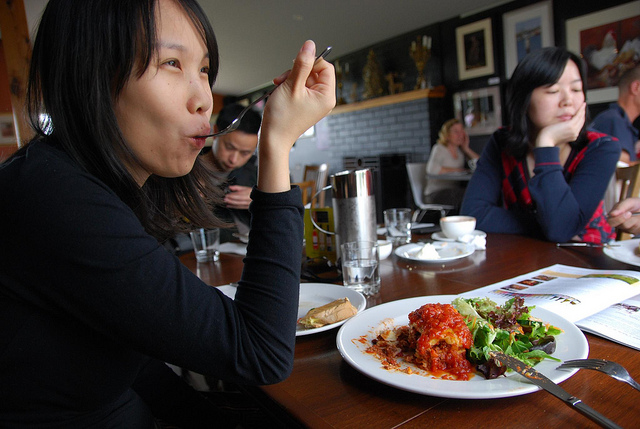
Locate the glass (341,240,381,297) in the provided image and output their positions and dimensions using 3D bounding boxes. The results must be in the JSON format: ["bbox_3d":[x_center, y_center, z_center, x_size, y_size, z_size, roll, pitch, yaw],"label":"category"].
[{"bbox_3d":[0.120,0.158,1.226,0.118,0.142,0.138,-3,-6,-9],"label":"glass"}]

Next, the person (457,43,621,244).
[{"bbox_3d":[0.923,-0.277,1.849,0.582,0.753,0.510,4,7,25],"label":"person"}]

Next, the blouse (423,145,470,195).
[{"bbox_3d":[1.375,-0.407,4.808,0.402,0.462,0.250,8,-2,-40],"label":"blouse"}]

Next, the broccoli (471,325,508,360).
[{"bbox_3d":[0.316,0.228,0.797,0.058,0.060,0.028,10,-4,4],"label":"broccoli"}]

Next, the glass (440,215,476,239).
[{"bbox_3d":[0.486,0.039,1.538,0.091,0.062,0.092,-2,1,-6],"label":"glass"}]

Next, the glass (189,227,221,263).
[{"bbox_3d":[-0.412,0.113,1.547,0.113,0.125,0.116,-3,-9,-22],"label":"glass"}]

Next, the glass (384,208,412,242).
[{"bbox_3d":[0.302,0.050,1.650,0.119,0.136,0.120,-5,-2,28],"label":"glass"}]

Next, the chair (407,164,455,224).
[{"bbox_3d":[1.087,-0.166,4.299,0.437,0.535,0.427,0,3,6],"label":"chair"}]
